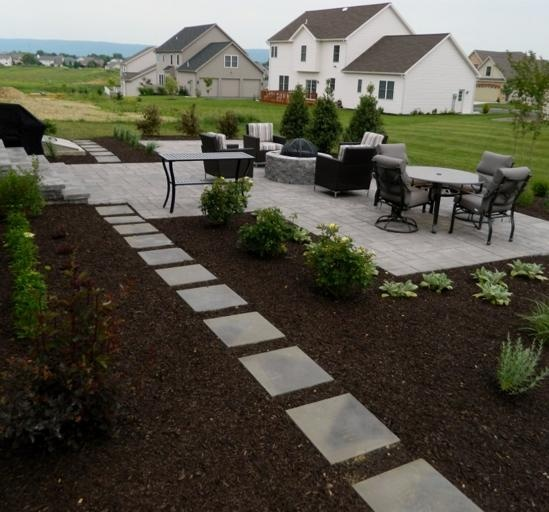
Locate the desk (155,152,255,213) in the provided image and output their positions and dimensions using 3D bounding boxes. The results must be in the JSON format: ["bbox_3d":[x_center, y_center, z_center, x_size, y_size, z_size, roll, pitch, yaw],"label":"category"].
[{"bbox_3d":[-1.500,-1.606,8.930,2.272,1.359,1.067,-3,39,-13],"label":"desk"}]
